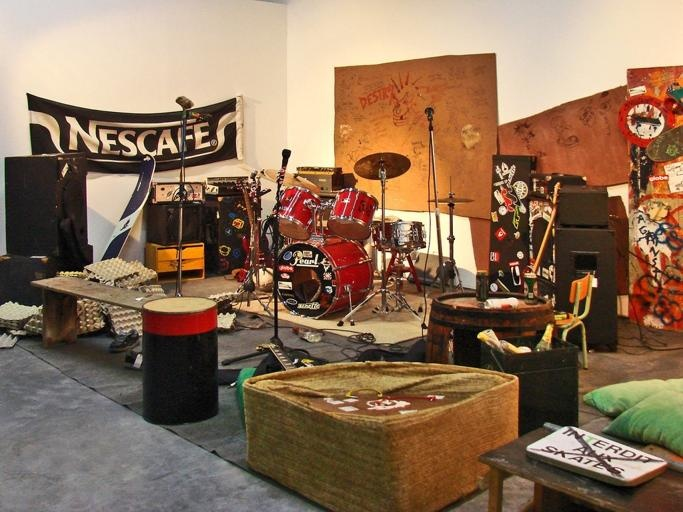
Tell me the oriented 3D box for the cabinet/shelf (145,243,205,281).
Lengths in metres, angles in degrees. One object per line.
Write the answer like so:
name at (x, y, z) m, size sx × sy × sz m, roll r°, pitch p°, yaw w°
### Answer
cabinet/shelf at (-2.619, 0.039, 8.099) m, size 1.080 × 0.585 × 0.604 m, roll -1°, pitch 0°, yaw -36°

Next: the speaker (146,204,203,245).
speaker at (-2.542, -0.403, 8.141) m, size 0.689 × 0.765 × 0.974 m, roll 1°, pitch -1°, yaw 43°

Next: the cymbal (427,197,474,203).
cymbal at (1.390, -0.701, 6.541) m, size 0.296 × 0.054 × 0.261 m, roll -1°, pitch 3°, yaw -4°

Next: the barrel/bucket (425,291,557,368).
barrel/bucket at (0.974, 0.399, 3.529) m, size 0.692 × 0.516 × 0.613 m, roll 0°, pitch 4°, yaw -12°

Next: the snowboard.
snowboard at (-3.188, -0.763, 7.672) m, size 0.288 × 1.646 × 0.279 m, roll 11°, pitch -13°, yaw 28°

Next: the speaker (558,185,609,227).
speaker at (2.240, -0.465, 4.838) m, size 0.460 × 0.266 × 0.416 m, roll 1°, pitch 6°, yaw 13°

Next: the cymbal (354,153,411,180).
cymbal at (0.455, -1.022, 5.928) m, size 0.513 × 0.298 × 0.474 m, roll -7°, pitch 12°, yaw -36°

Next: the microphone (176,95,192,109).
microphone at (-1.654, -1.598, 5.467) m, size 0.133 × 0.143 × 0.291 m, roll -2°, pitch 10°, yaw -11°

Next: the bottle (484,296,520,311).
bottle at (1.043, 0.308, 3.379) m, size 0.170 × 0.055 × 0.098 m, roll -2°, pitch -2°, yaw -23°

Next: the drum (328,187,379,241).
drum at (0.102, -0.436, 5.610) m, size 0.526 × 0.585 × 0.500 m, roll -1°, pitch 10°, yaw -2°

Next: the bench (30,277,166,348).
bench at (-2.296, 0.569, 4.731) m, size 1.349 × 0.619 × 0.452 m, roll 7°, pitch 13°, yaw 38°

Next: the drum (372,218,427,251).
drum at (0.664, -0.225, 5.797) m, size 0.475 × 0.184 × 0.426 m, roll 1°, pitch -1°, yaw -36°

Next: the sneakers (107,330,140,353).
sneakers at (-2.068, 0.807, 4.949) m, size 0.139 × 0.092 × 0.316 m, roll 3°, pitch 2°, yaw 7°

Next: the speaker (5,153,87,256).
speaker at (-3.576, -0.589, 6.108) m, size 1.009 × 1.151 × 0.478 m, roll 0°, pitch 11°, yaw 3°

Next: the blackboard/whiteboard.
blackboard/whiteboard at (0.957, 0.758, 1.985) m, size 0.246 × 0.033 × 0.237 m, roll -6°, pitch 9°, yaw -40°

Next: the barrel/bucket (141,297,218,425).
barrel/bucket at (-1.073, 0.706, 3.448) m, size 0.490 × 0.753 × 0.238 m, roll -3°, pitch 11°, yaw -14°
